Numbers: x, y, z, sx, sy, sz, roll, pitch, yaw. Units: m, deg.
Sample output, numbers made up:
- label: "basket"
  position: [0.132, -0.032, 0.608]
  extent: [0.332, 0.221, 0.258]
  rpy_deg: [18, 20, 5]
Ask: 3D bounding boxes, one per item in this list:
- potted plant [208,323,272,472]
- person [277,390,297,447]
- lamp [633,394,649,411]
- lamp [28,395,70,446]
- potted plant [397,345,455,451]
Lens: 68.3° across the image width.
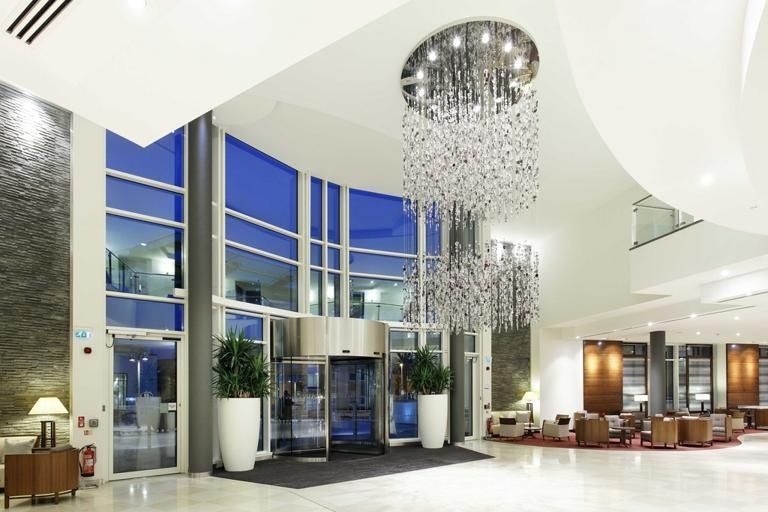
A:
- label: "potted plant"
  position: [-3.111, 3.084, 12.162]
  extent: [1.228, 2.876, 1.017]
  rpy_deg: [7, -17, -26]
- label: "person"
  position: [-2.284, 3.814, 13.295]
  extent: [0.403, 1.329, 0.268]
  rpy_deg: [-1, -15, 2]
- label: "lamp"
  position: [11.605, 6.664, 25.661]
  extent: [0.713, 0.833, 0.711]
  rpy_deg: [2, -3, -19]
- label: "lamp"
  position: [-5.843, 2.873, 9.878]
  extent: [0.706, 1.092, 0.575]
  rpy_deg: [5, -16, -28]
- label: "potted plant"
  position: [1.254, 3.934, 15.987]
  extent: [1.169, 2.754, 0.779]
  rpy_deg: [-2, -15, 4]
